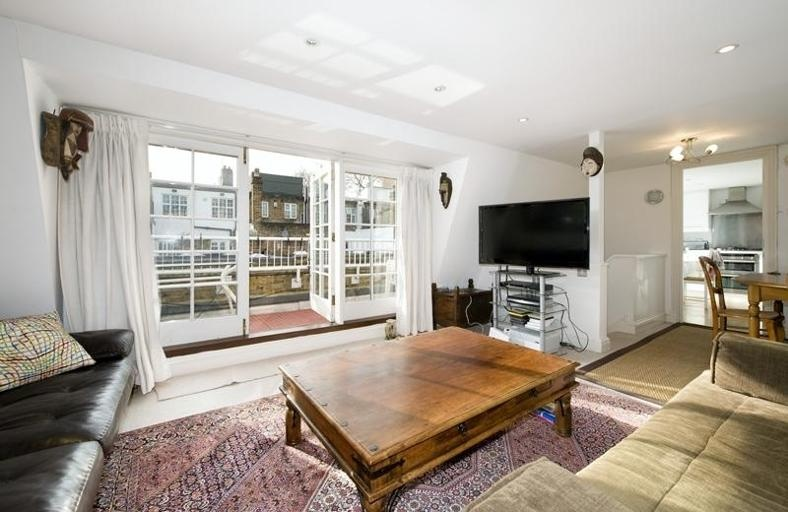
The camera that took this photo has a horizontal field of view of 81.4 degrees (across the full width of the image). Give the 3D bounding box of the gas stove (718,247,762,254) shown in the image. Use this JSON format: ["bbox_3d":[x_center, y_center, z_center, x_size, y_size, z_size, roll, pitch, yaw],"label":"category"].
[{"bbox_3d":[6.932,-0.113,9.221,0.578,0.099,1.248,1,3,33],"label":"gas stove"}]

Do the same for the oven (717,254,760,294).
[{"bbox_3d":[6.914,0.334,9.057,0.604,0.836,0.620,10,-4,-38],"label":"oven"}]

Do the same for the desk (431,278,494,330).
[{"bbox_3d":[1.025,0.737,6.738,0.895,0.629,0.513,-2,3,-43],"label":"desk"}]

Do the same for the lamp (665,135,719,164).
[{"bbox_3d":[4.110,-1.447,6.271,0.607,0.294,0.613,-3,-5,36],"label":"lamp"}]

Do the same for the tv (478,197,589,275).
[{"bbox_3d":[1.744,-0.281,5.875,1.442,0.840,0.114,1,5,36],"label":"tv"}]
